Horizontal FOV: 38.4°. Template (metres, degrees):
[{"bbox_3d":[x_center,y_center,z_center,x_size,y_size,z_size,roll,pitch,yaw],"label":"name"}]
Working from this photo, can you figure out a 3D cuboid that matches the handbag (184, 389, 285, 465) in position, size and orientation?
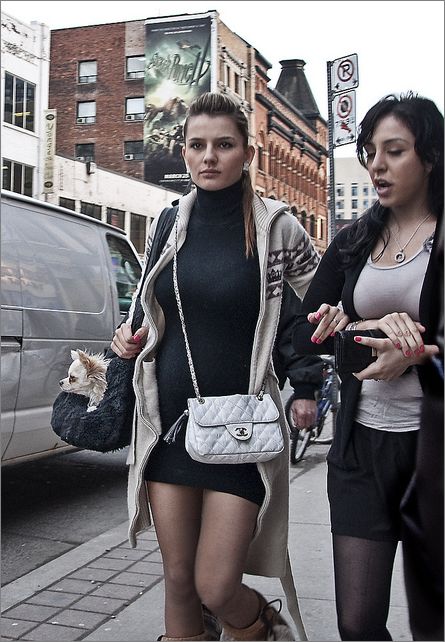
[{"bbox_3d":[0.033,0.324,1.963,0.315,0.230,0.114,2,-16,-27],"label":"handbag"}]

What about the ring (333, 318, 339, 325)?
[{"bbox_3d":[0.319,0.002,1.780,0.014,0.013,0.013,-2,-5,0],"label":"ring"}]

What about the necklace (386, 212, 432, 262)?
[{"bbox_3d":[0.525,-0.236,1.793,0.098,0.136,0.104,0,7,9],"label":"necklace"}]

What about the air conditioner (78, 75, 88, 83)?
[{"bbox_3d":[-8.568,-14.967,39.375,0.733,0.481,0.383,2,9,6],"label":"air conditioner"}]

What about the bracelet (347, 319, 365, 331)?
[{"bbox_3d":[0.368,0.013,1.763,0.038,0.015,0.028,-40,-15,29],"label":"bracelet"}]

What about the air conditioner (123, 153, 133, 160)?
[{"bbox_3d":[-5.734,-10.114,39.146,0.610,0.382,0.407,3,7,19],"label":"air conditioner"}]
